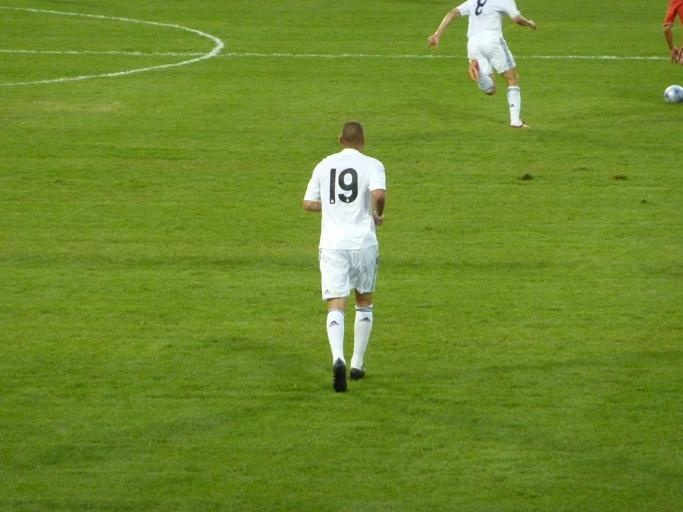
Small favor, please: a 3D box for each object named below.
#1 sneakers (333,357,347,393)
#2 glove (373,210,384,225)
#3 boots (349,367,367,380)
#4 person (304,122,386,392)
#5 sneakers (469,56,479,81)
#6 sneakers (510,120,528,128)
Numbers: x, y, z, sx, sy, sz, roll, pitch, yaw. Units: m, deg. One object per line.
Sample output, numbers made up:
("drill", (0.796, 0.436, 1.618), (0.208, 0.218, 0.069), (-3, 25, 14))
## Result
("sneakers", (0.007, 1.322, 20.748), (0.140, 0.354, 0.183), (-3, 16, 3))
("glove", (0.446, -0.431, 21.143), (0.115, 0.116, 0.134), (4, 11, 8))
("boots", (0.198, 1.326, 21.060), (0.080, 0.087, 0.218), (4, 11, 23))
("person", (0.116, 0.001, 20.975), (0.785, 2.969, 0.747), (0, 8, -23))
("sneakers", (2.014, -2.745, 27.615), (0.124, 0.284, 0.222), (-9, 18, -3))
("sneakers", (2.711, -1.945, 27.838), (0.285, 0.113, 0.091), (-9, 36, -32))
